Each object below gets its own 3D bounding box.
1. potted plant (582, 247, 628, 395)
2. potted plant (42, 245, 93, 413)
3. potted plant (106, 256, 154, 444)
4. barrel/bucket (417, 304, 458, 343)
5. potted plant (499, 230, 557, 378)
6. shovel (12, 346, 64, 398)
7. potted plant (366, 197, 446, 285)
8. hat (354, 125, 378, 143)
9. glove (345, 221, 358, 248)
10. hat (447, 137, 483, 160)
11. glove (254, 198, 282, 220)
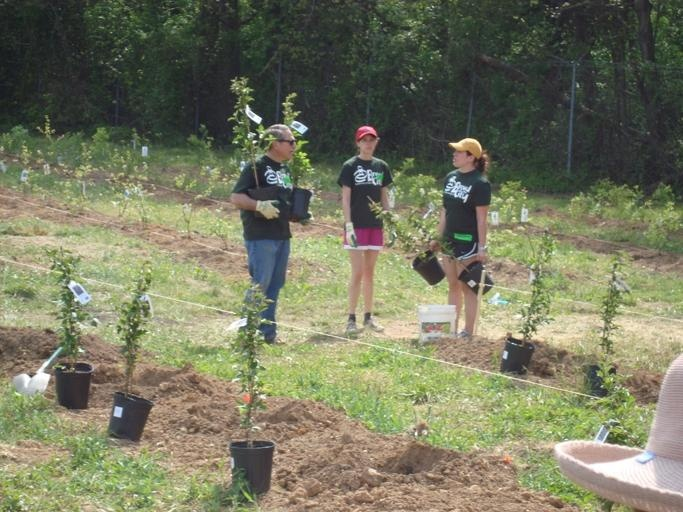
[{"bbox_3d":[6.212,1.682,33.586,1.011,3.619,1.186,8,10,33],"label":"potted plant"},{"bbox_3d":[-6.378,1.584,33.228,1.081,3.614,2.076,3,7,-13],"label":"potted plant"},{"bbox_3d":[-4.882,2.147,33.017,0.918,3.830,2.364,4,7,-9],"label":"potted plant"},{"bbox_3d":[2.354,1.663,35.071,0.860,0.879,0.888,0,-1,0],"label":"barrel/bucket"},{"bbox_3d":[4.579,1.385,34.139,0.669,2.867,0.844,13,10,-12],"label":"potted plant"},{"bbox_3d":[-7.066,2.604,32.673,1.074,1.133,0.638,3,7,-18],"label":"shovel"},{"bbox_3d":[1.625,-0.425,35.167,0.964,1.289,3.463,21,-10,36],"label":"potted plant"},{"bbox_3d":[0.549,-3.094,35.445,0.445,0.389,0.589,3,8,-21],"label":"hat"},{"bbox_3d":[0.205,-0.555,35.200,0.153,0.535,0.367,-15,16,-20],"label":"glove"},{"bbox_3d":[3.094,-2.742,35.006,0.775,0.398,0.531,16,7,-3],"label":"hat"},{"bbox_3d":[-1.833,-1.175,34.539,0.582,0.494,0.219,4,6,-9],"label":"glove"}]
